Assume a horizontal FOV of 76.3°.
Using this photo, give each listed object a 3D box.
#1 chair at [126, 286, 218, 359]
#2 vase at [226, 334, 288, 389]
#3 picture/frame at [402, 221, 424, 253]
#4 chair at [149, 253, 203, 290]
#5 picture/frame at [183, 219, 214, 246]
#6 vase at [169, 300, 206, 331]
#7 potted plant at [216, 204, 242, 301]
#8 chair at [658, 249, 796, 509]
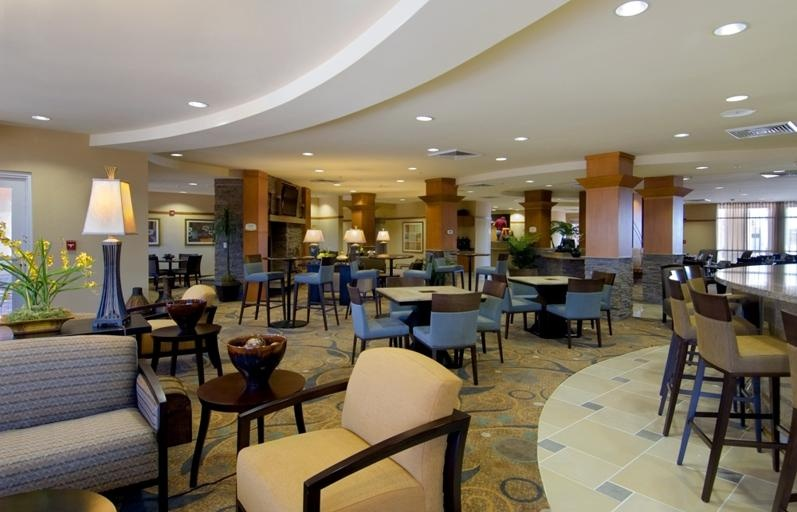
[{"bbox_3d":[-2.920,0.784,6.666,1.057,0.836,0.668,3,-3,-33],"label":"chair"},{"bbox_3d":[-1.235,0.957,4.441,0.453,0.326,0.447,-2,0,43],"label":"vase"},{"bbox_3d":[0.598,-0.689,19.311,1.255,1.387,0.107,-4,-7,41],"label":"picture/frame"},{"bbox_3d":[-5.832,0.424,13.265,1.027,0.602,0.984,0,3,-4],"label":"chair"},{"bbox_3d":[-6.358,-0.740,16.089,0.901,0.716,0.089,-3,8,-44],"label":"picture/frame"},{"bbox_3d":[-2.258,0.651,5.403,0.351,0.264,0.354,1,2,43],"label":"vase"},{"bbox_3d":[-3.899,-0.021,11.626,0.495,2.136,0.490,-4,4,-34],"label":"potted plant"},{"bbox_3d":[3.034,1.196,4.651,0.826,1.791,1.156,1,4,36],"label":"chair"}]
